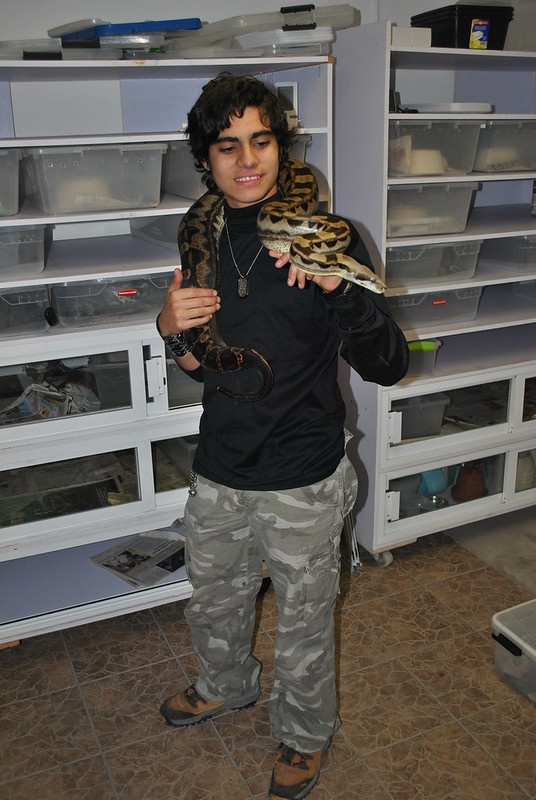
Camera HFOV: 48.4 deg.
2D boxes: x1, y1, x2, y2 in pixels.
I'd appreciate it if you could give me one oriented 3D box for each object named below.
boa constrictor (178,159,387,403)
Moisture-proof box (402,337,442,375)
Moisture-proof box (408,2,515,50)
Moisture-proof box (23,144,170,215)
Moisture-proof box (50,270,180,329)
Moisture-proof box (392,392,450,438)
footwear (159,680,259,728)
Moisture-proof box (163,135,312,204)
[{"bbox_3d":[-0.013,-0.394,1.648,0.548,0.744,0.131,-7,-25,16],"label":"boa constrictor"},{"bbox_3d":[0.771,-0.224,3.021,0.207,0.190,0.235,-2,17,10],"label":"Moisture-proof box"},{"bbox_3d":[0.894,-1.680,2.773,0.315,0.188,0.445,-8,25,-14],"label":"Moisture-proof box"},{"bbox_3d":[-0.602,-0.791,2.128,0.427,0.197,0.299,-10,29,-23],"label":"Moisture-proof box"},{"bbox_3d":[-0.616,-0.446,2.323,0.354,0.122,0.260,-17,35,-24],"label":"Moisture-proof box"},{"bbox_3d":[0.779,0.066,3.154,0.299,0.178,0.214,-5,12,-10],"label":"Moisture-proof box"},{"bbox_3d":[-0.211,1.120,2.273,0.372,0.164,0.136,-8,40,-11],"label":"footwear"},{"bbox_3d":[-0.222,-1.002,2.565,0.439,0.261,0.433,-28,41,-31],"label":"Moisture-proof box"}]
